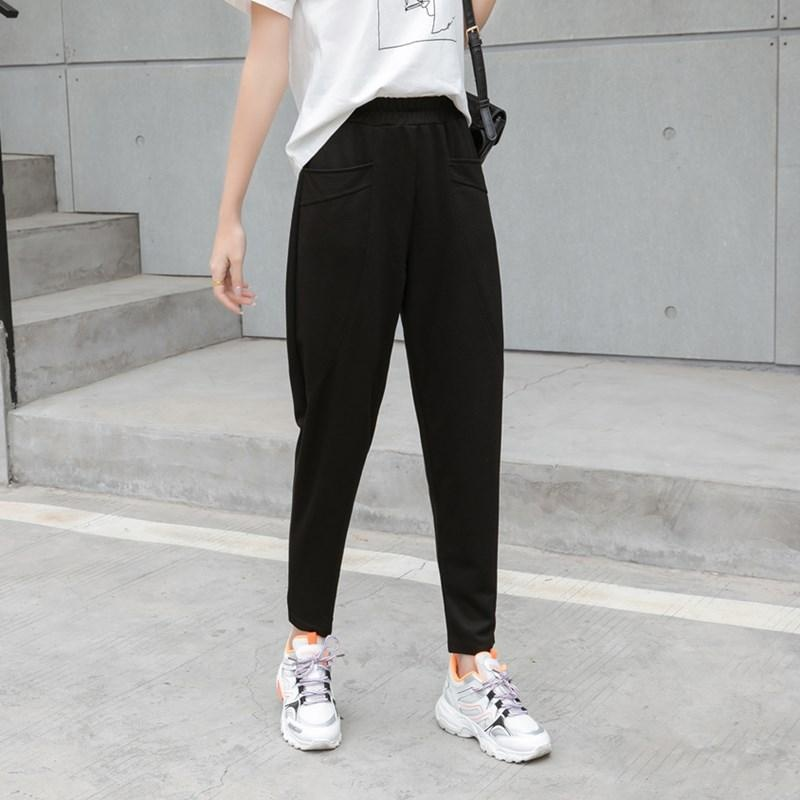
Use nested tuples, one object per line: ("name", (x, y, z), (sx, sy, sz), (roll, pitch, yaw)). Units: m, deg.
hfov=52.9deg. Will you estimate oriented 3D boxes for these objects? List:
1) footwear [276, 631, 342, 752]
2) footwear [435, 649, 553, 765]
("footwear", (-0.181, 0.545, 1.518), (0.088, 0.109, 0.226), (1, 14, -11))
("footwear", (0.172, 0.563, 1.491), (0.109, 0.143, 0.280), (4, 0, -33))
